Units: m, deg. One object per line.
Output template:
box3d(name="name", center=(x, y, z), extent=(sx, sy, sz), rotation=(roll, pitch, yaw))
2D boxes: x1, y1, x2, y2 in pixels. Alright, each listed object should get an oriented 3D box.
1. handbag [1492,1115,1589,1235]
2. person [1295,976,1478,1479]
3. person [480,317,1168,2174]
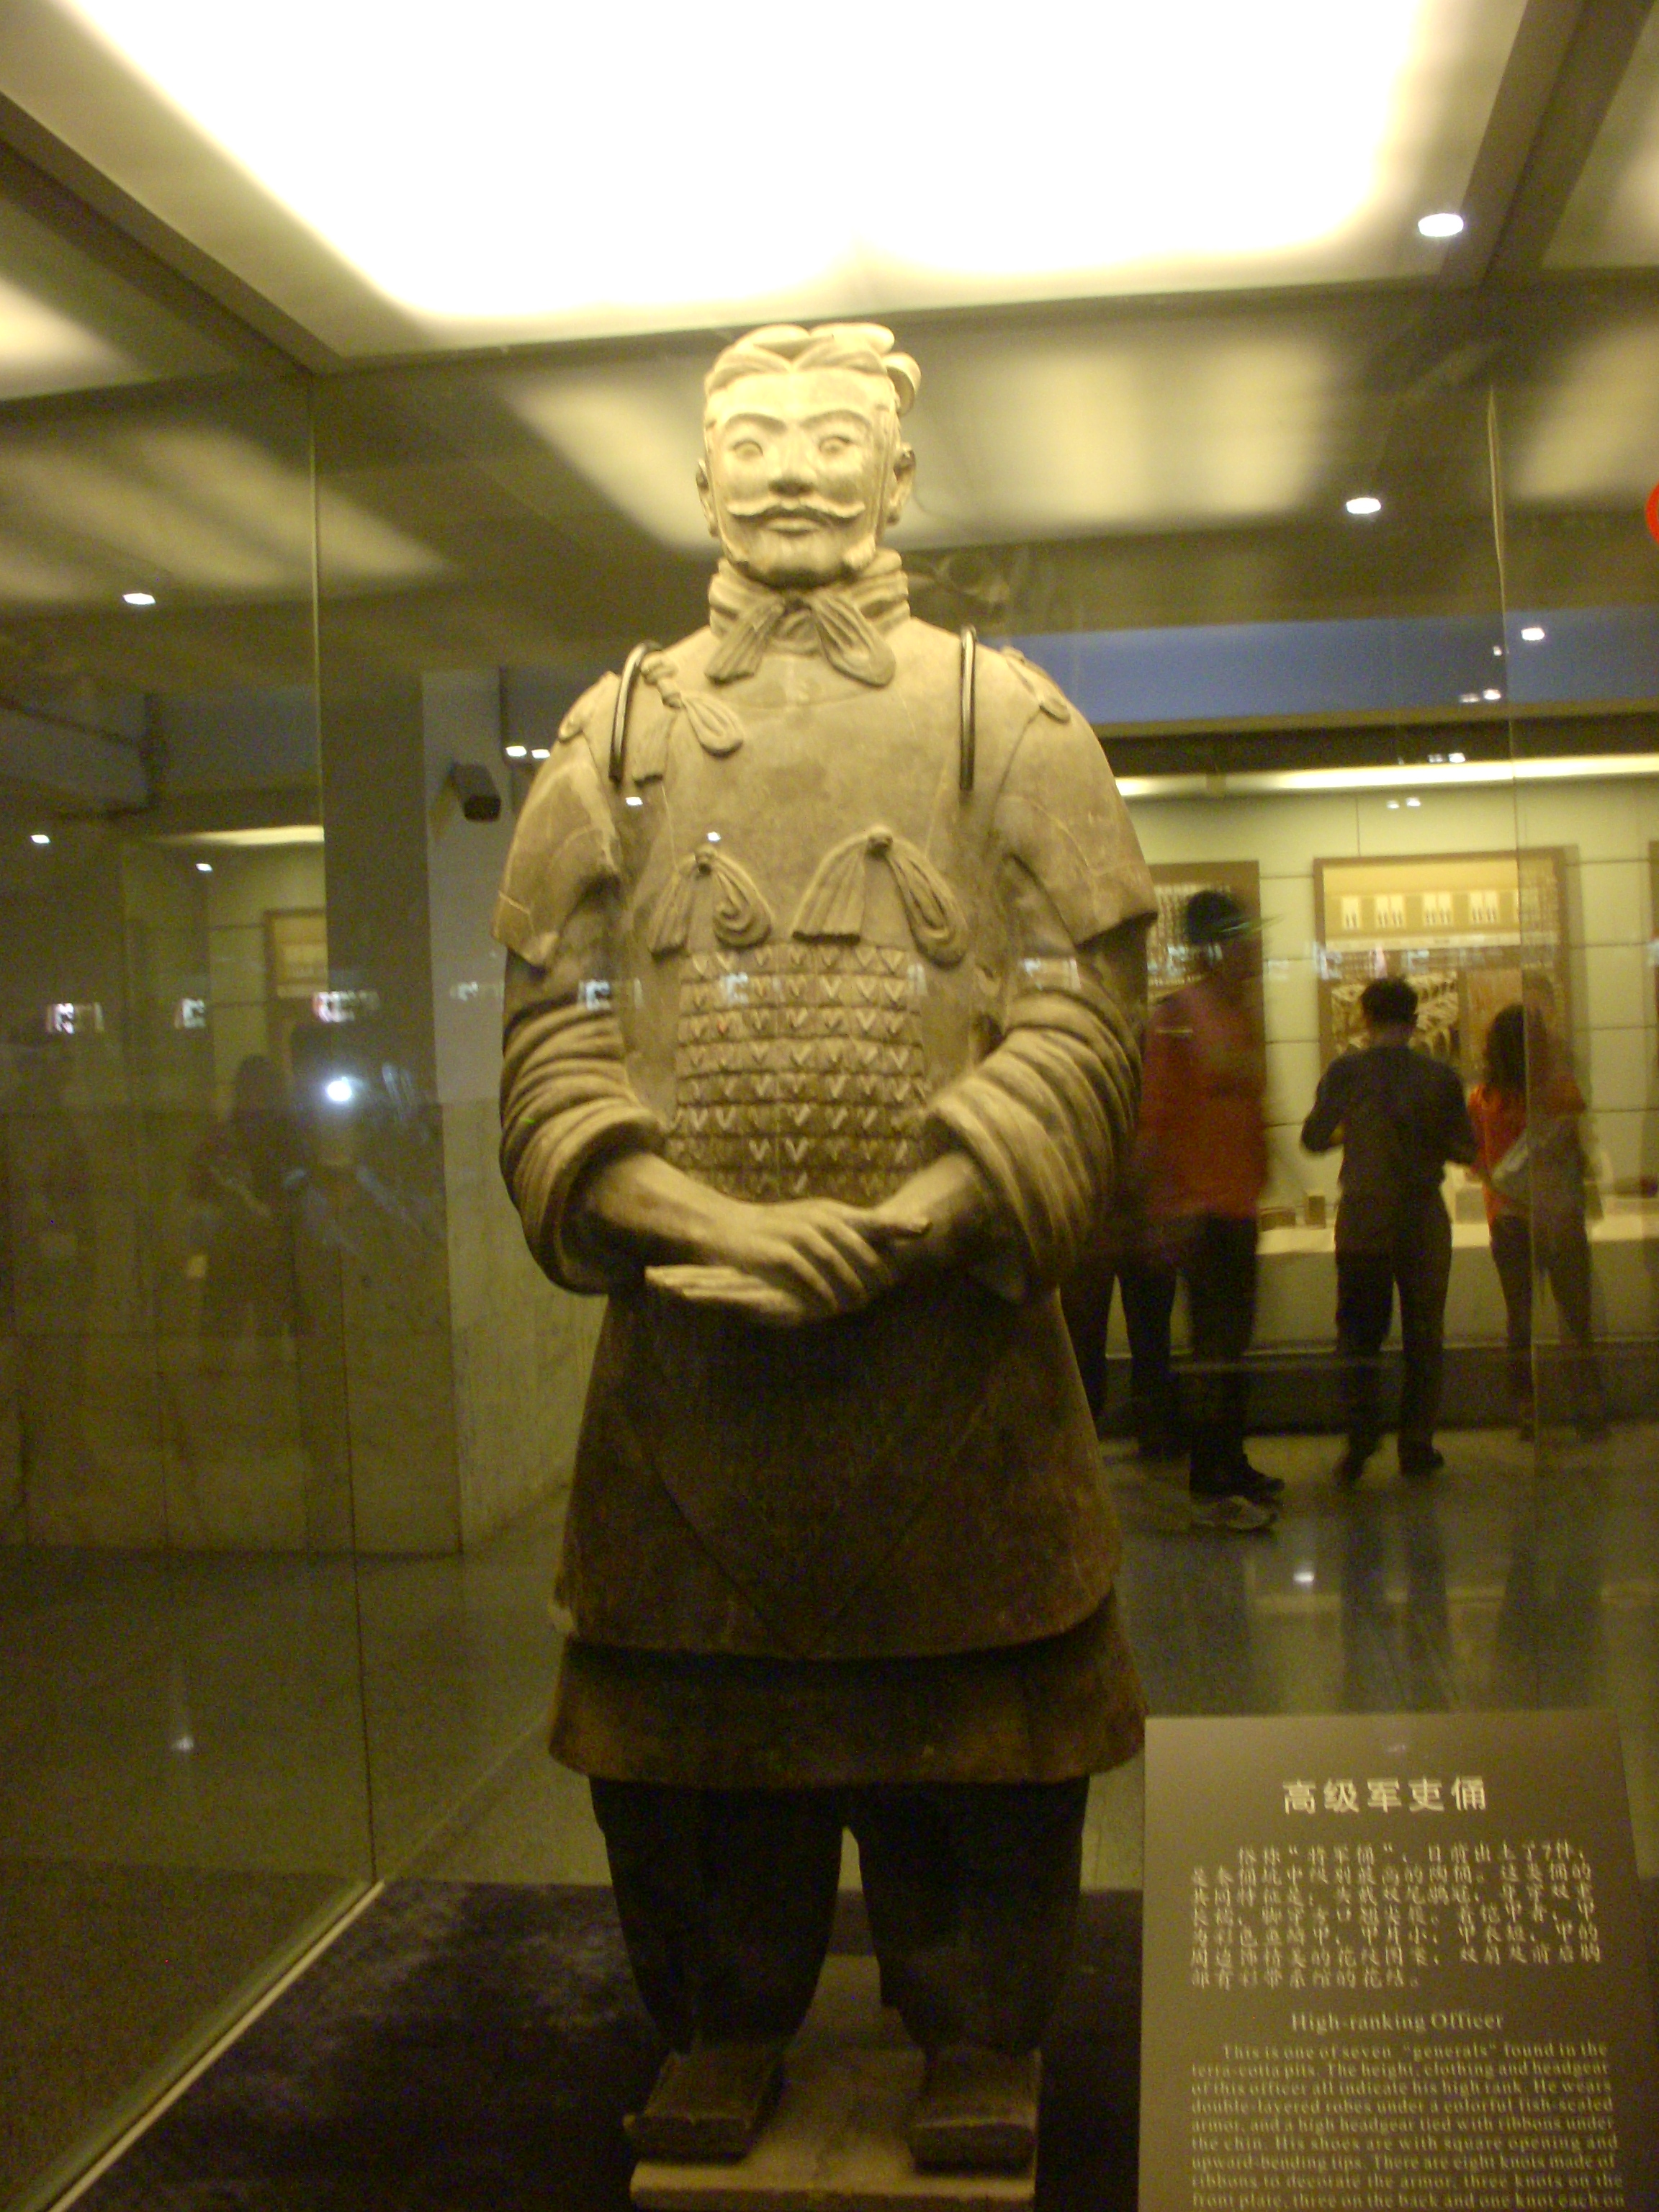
box3d(name="handbag", center=(1.147, 0.114, 2.848), extent=(0.149, 0.168, 0.063), rotation=(4, 11, 6))
box3d(name="person", center=(0.914, 0.204, 2.882), extent=(0.262, 0.800, 0.119), rotation=(-5, -2, 18))
box3d(name="person", center=(-0.008, 0.147, 2.093), extent=(0.642, 1.774, 0.647), rotation=(-6, -2, 43))
